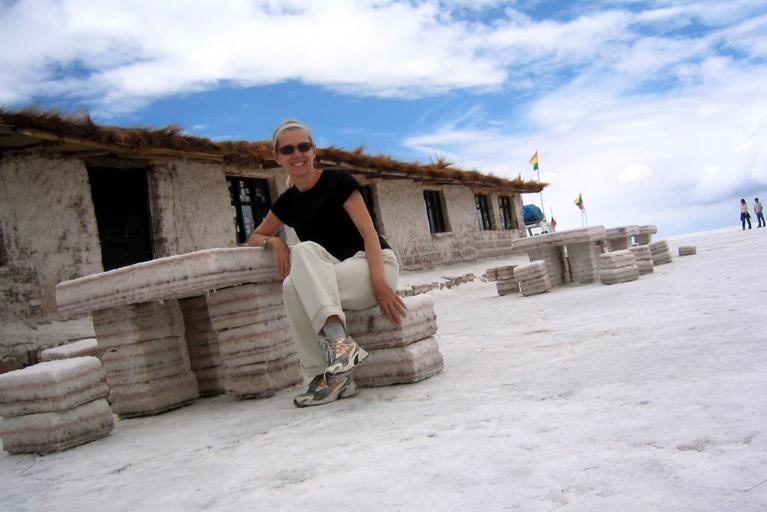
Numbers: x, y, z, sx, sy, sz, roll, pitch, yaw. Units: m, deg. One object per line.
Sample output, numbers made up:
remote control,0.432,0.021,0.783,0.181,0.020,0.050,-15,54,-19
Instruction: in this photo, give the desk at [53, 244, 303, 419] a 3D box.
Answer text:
desk,-1.283,0.466,4.068,1.878,1.040,1.459,-11,4,23

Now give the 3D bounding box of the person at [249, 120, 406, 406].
person,-0.403,-0.014,3.383,0.898,1.706,0.889,-15,4,-12

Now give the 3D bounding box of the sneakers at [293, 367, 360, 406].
sneakers,-0.357,0.823,3.153,0.411,0.211,0.268,-12,3,-16

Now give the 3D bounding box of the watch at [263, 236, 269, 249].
watch,-0.858,-0.096,3.716,0.019,0.060,0.068,5,-9,-16

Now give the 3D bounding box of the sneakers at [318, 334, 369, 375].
sneakers,-0.234,0.601,3.057,0.266,0.210,0.151,-12,4,-8

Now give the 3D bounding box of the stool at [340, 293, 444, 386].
stool,0.093,0.565,3.585,0.678,0.497,0.683,-4,-3,42
